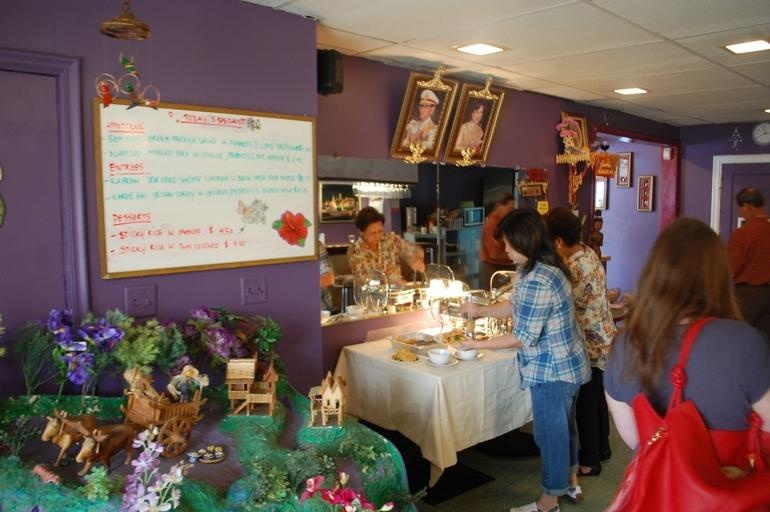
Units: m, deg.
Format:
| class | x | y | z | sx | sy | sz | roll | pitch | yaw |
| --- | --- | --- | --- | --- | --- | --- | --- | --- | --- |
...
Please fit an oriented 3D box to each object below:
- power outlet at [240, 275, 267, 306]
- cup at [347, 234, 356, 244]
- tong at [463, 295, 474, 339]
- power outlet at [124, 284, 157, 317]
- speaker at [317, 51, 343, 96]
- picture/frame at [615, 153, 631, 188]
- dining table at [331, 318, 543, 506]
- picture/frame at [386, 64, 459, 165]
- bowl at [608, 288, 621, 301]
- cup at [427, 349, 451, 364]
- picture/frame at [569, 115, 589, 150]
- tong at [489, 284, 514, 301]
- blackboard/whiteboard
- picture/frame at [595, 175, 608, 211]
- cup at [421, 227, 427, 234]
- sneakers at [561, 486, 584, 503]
| class | x | y | z | sx | sy | sz | roll | pitch | yaw |
| --- | --- | --- | --- | --- | --- | --- | --- | --- | --- |
| power outlet | -0.778 | 0.199 | 3.079 | 0.180 | 0.176 | 0.026 | -4 | 4 | -42 |
| cup | -0.251 | -0.125 | 3.944 | 0.063 | 0.062 | 0.115 | 2 | -4 | -4 |
| tong | 0.624 | 0.473 | 3.941 | 0.071 | 0.227 | 0.169 | 3 | 8 | -4 |
| power outlet | -1.298 | 0.232 | 2.765 | 0.178 | 0.196 | 0.021 | -2 | 3 | -37 |
| speaker | -0.367 | -1.212 | 3.462 | 0.167 | 0.283 | 0.117 | -3 | 8 | -6 |
| picture/frame | 3.877 | -1.397 | 8.549 | 0.241 | 0.570 | 0.226 | 1 | 8 | 18 |
| dining table | 0.271 | 0.955 | 3.760 | 1.082 | 0.534 | 1.059 | -5 | 8 | -42 |
| picture/frame | 0.331 | -1.112 | 4.236 | 0.318 | 0.708 | 0.536 | 5 | 10 | 42 |
| bowl | 2.324 | 0.393 | 5.335 | 0.180 | 0.119 | 0.181 | 1 | 7 | 0 |
| cup | 0.355 | 0.658 | 3.484 | 0.109 | 0.062 | 0.106 | -3 | 3 | 0 |
| picture/frame | 2.113 | -1.329 | 5.682 | 0.025 | 0.383 | 0.443 | -18 | 13 | 13 |
| tong | 0.969 | 0.319 | 4.351 | 0.130 | 0.032 | 0.129 | -13 | 14 | 26 |
| blackboard/whiteboard | -1.029 | -0.376 | 2.888 | 1.114 | 0.775 | 0.039 | -3 | 3 | -38 |
| picture/frame | 3.693 | -1.049 | 8.947 | 0.154 | 0.555 | 0.352 | 1 | 8 | 18 |
| cup | 0.324 | -0.209 | 4.366 | 0.052 | 0.049 | 0.053 | 1 | 5 | 0 |
| sneakers | 1.288 | 1.621 | 3.585 | 0.112 | 0.091 | 0.233 | -1 | -1 | 12 |
